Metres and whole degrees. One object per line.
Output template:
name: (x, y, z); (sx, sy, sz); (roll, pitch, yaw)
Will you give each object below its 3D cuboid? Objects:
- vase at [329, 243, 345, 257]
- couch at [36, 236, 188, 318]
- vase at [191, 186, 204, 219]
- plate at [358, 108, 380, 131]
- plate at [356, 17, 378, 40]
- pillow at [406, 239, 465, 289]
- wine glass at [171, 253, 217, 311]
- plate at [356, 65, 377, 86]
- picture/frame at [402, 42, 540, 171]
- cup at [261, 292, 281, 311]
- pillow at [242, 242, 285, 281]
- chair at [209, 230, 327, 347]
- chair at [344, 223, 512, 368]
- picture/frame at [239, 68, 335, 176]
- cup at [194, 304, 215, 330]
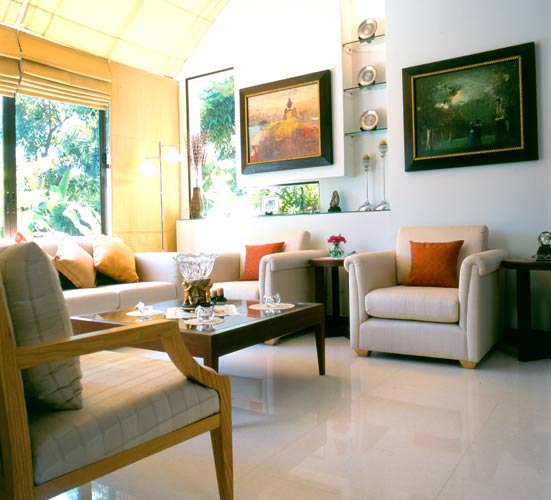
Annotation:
vase: (0.611, 0.016, 4.470); (0.119, 0.131, 0.122); (3, -5, -35)
couch: (-1.611, 0.344, 4.264); (0.798, 0.958, 1.430); (-14, -6, 41)
vase: (-0.997, -0.587, 5.713); (0.144, 0.406, 0.317); (-2, 2, -9)
plate: (0.966, -1.326, 4.659); (0.200, 0.236, 0.072); (20, 2, 27)
plate: (0.925, -2.210, 4.544); (0.212, 0.243, 0.066); (22, 23, 32)
pillow: (1.288, 0.123, 3.598); (0.318, 0.337, 0.123); (0, -21, 33)
wine glass: (-0.506, 0.231, 2.933); (0.270, 0.349, 0.285); (-9, -6, 35)
plate: (0.937, -1.770, 4.606); (0.185, 0.267, 0.182); (-1, 2, 13)
picture/frame: (1.749, -1.255, 3.949); (1.078, 1.094, 0.084); (-2, -2, 32)
cup: (-0.032, 0.346, 2.951); (0.089, 0.089, 0.103); (0, -5, 1)
pillow: (-0.185, 0.133, 4.514); (0.123, 0.369, 0.341); (14, -4, -35)
chair: (-0.092, 0.224, 4.403); (1.184, 1.370, 0.916); (-4, -7, 37)
chair: (1.230, 0.337, 3.664); (1.015, 1.172, 0.990); (0, -2, 31)
picture/frame: (0.166, -1.385, 4.873); (1.097, 1.065, 0.085); (-2, -3, 32)
cup: (-0.385, 0.371, 2.466); (0.072, 0.115, 0.104); (-1, -8, 2)
